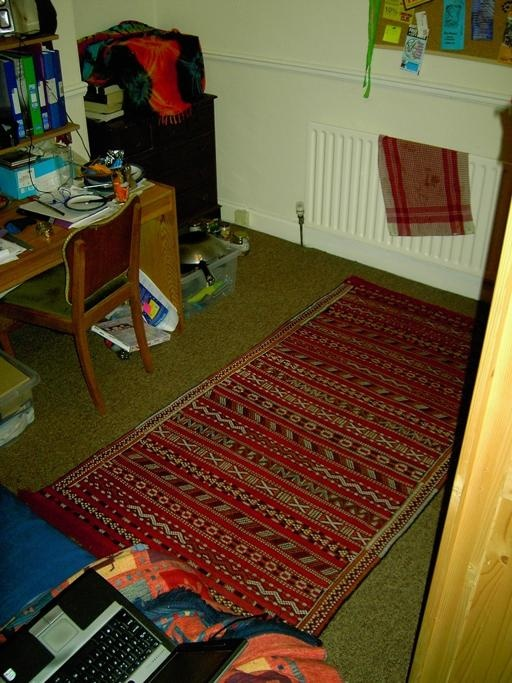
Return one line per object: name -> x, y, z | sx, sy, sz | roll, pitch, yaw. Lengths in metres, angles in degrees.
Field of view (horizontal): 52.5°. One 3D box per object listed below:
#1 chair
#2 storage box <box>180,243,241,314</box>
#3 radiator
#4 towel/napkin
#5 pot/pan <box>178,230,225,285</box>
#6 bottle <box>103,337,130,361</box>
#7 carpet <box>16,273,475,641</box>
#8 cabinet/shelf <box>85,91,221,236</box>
chair -> -0.794, -0.168, 2.297 | 0.533, 0.843, 0.518 | 30, 48, 7
storage box -> -0.254, -0.352, 3.060 | 0.294, 0.274, 0.445 | 30, 49, 31
radiator -> 0.888, -0.854, 3.012 | 1.323, 0.781, 0.055 | 25, 47, 28
towel/napkin -> 0.989, -0.900, 2.932 | 0.619, 0.593, 0.057 | 14, 44, 30
pot/pan -> -0.336, -0.500, 2.997 | 0.221, 0.053, 0.303 | -18, 56, -17
bottle -> -0.737, 0.050, 2.742 | 0.094, 0.056, 0.131 | -42, 82, -18
carpet -> 0.066, 0.489, 2.168 | 0.972, 0.084, 1.757 | 24, 43, 26
cabinet/shelf -> -0.546, -1.090, 3.597 | 0.909, 0.840, 0.350 | -6, -2, 27
